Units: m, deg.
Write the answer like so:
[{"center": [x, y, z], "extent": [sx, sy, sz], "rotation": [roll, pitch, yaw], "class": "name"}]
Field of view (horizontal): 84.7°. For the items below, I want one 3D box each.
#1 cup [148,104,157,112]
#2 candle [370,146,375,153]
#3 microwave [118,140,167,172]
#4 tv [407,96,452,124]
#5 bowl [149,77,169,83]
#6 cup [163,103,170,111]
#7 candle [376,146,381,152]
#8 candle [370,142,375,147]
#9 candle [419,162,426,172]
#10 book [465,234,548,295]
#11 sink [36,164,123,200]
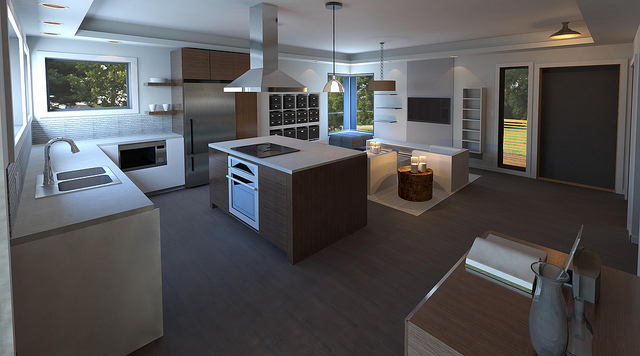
[{"center": [-3.517, -1.493, 7.366], "extent": [0.162, 0.133, 0.155], "rotation": [0, 7, 0], "class": "cup"}, {"center": [1.088, -0.623, 7.406], "extent": [0.138, 0.120, 0.093], "rotation": [12, 22, 35], "class": "candle"}, {"center": [-3.530, -0.404, 7.215], "extent": [1.036, 0.588, 0.506], "rotation": [-7, -10, 4], "class": "microwave"}, {"center": [2.925, -1.861, 9.539], "extent": [0.045, 0.732, 1.349], "rotation": [-18, 21, -36], "class": "tv"}, {"center": [-3.405, -2.088, 7.395], "extent": [0.351, 0.083, 0.312], "rotation": [-8, 19, -22], "class": "bowl"}, {"center": [-3.260, -1.527, 7.426], "extent": [0.139, 0.104, 0.135], "rotation": [-1, 3, 0], "class": "cup"}, {"center": [1.251, -0.630, 7.506], "extent": [0.077, 0.088, 0.142], "rotation": [7, 13, 34], "class": "candle"}, {"center": [1.110, -0.742, 7.539], "extent": [0.067, 0.075, 0.119], "rotation": [5, 12, 24], "class": "candle"}, {"center": [2.006, -0.218, 6.963], "extent": [0.155, 0.152, 0.147], "rotation": [-2, 6, -14], "class": "candle"}, {"center": [1.670, 0.733, 3.155], "extent": [0.590, 0.362, 0.441], "rotation": [10, 21, 32], "class": "book"}, {"center": [-3.248, 0.015, 4.662], "extent": [0.746, 0.242, 0.588], "rotation": [-10, 20, -37], "class": "sink"}]
